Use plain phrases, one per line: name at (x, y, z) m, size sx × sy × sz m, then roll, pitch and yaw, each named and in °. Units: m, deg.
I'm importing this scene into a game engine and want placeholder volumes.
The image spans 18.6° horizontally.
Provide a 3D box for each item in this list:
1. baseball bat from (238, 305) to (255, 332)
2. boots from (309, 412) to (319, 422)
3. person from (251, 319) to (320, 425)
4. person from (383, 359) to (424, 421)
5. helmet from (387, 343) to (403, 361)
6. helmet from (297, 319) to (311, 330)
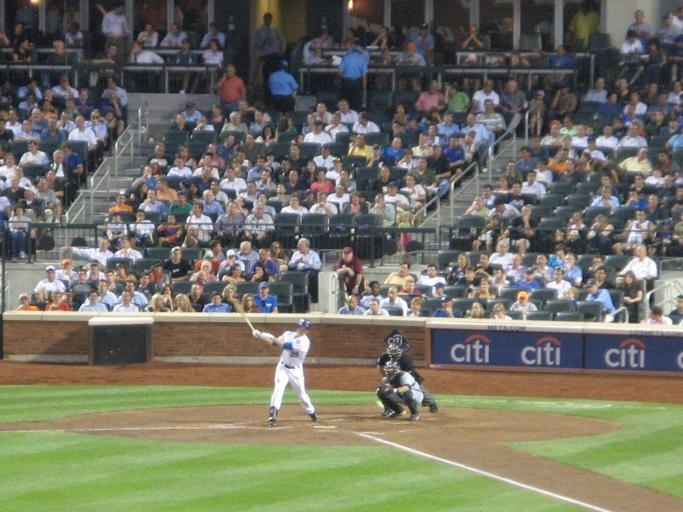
baseball bat at (-2.506, 1.641, 53.349) m, size 0.129 × 0.653 × 0.191 m, roll -28°, pitch 6°, yaw 6°
boots at (-0.705, 3.741, 48.535) m, size 0.143 × 0.257 × 0.249 m, roll 0°, pitch -5°, yaw -4°
person at (-1.290, 2.691, 48.499) m, size 1.278 × 2.372 × 0.809 m, roll 0°, pitch 2°, yaw -25°
person at (1.303, 3.148, 48.787) m, size 1.106 × 1.407 × 1.344 m, roll 2°, pitch 7°, yaw 6°
helmet at (1.179, 2.209, 48.717) m, size 0.419 × 0.460 × 0.319 m, roll 1°, pitch 2°, yaw -3°
helmet at (-0.943, 1.611, 48.588) m, size 0.243 × 0.131 × 0.182 m, roll 18°, pitch 12°, yaw 5°
